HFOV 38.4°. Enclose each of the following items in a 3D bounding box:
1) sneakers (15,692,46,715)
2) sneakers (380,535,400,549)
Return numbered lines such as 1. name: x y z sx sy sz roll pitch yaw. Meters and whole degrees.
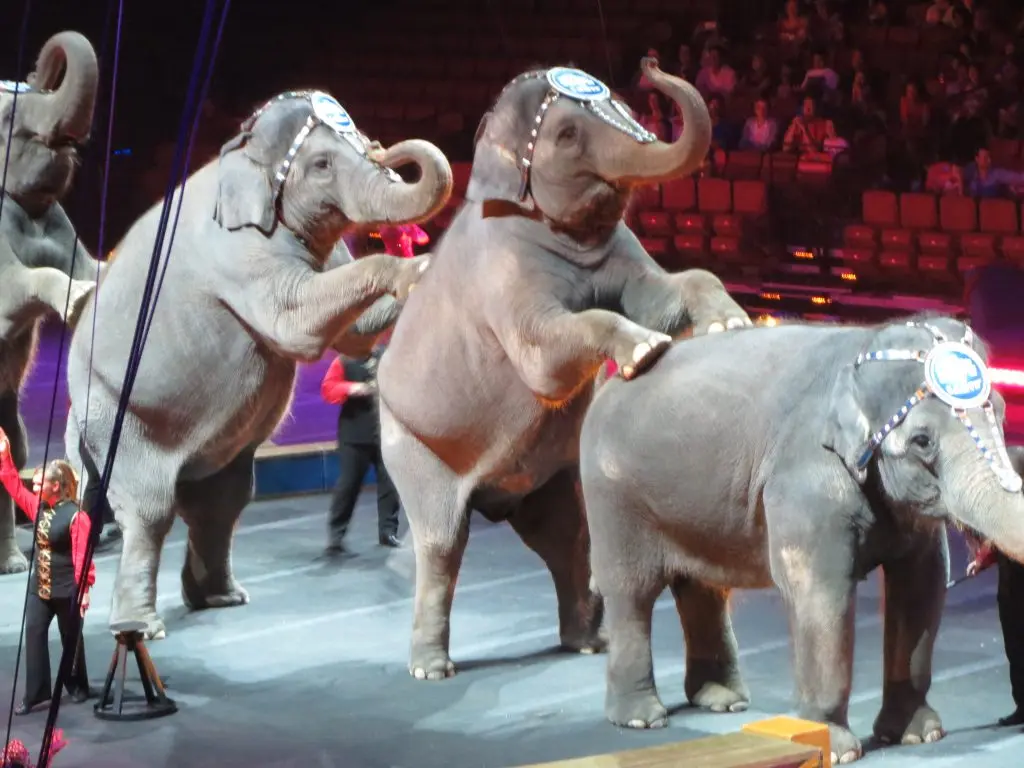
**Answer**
1. sneakers: -2.302 1.554 7.149 0.178 0.075 0.059 -6 11 -18
2. sneakers: -0.808 1.043 9.675 0.072 0.044 0.118 -2 7 -9
